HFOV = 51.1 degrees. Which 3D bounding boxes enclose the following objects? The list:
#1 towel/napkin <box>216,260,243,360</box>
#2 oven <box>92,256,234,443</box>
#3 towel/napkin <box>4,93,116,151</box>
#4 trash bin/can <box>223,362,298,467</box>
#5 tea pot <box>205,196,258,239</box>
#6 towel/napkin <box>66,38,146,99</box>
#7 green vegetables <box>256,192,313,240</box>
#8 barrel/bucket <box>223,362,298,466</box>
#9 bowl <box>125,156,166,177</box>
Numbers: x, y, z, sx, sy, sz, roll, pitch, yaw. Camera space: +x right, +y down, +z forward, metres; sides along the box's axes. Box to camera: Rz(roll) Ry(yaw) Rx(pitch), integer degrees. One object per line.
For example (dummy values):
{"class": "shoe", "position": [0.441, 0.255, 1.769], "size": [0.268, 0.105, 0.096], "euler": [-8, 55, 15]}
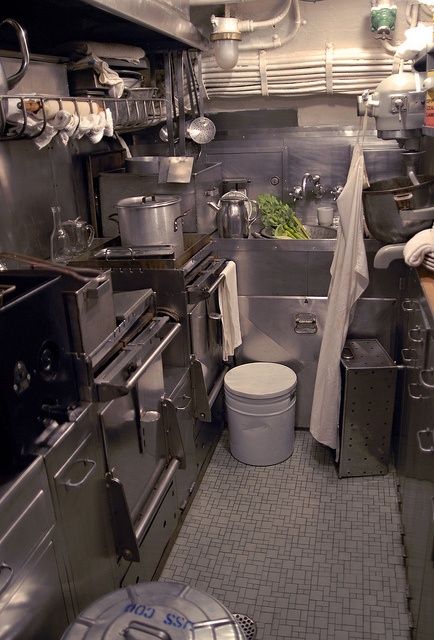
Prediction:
{"class": "towel/napkin", "position": [0.060, -0.072, 2.425], "size": [0.100, 0.467, 0.351], "euler": [-1, 33, 8]}
{"class": "oven", "position": [-0.131, 0.220, 2.533], "size": [0.626, 1.213, 1.190], "euler": [0, 21, 4]}
{"class": "towel/napkin", "position": [-0.498, -0.631, 1.427], "size": [0.195, 0.131, 0.466], "euler": [14, 26, 4]}
{"class": "trash bin/can", "position": [0.225, 0.495, 2.582], "size": [0.431, 0.523, 0.464], "euler": [-1, 25, 4]}
{"class": "tea pot", "position": [0.096, -0.596, 2.594], "size": [0.261, 0.282, 0.175], "euler": [-3, 15, -2]}
{"class": "towel/napkin", "position": [-0.436, -1.033, 1.899], "size": [0.249, 0.117, 0.337], "euler": [20, 31, 29]}
{"class": "green vegetables", "position": [0.409, -0.641, 2.833], "size": [0.283, 0.229, 0.556], "euler": [-3, 23, 3]}
{"class": "barrel/bucket", "position": [0.227, 0.495, 2.581], "size": [0.431, 0.524, 0.463], "euler": [-2, 25, 1]}
{"class": "bowl", "position": [-0.405, -0.852, 2.493], "size": [0.178, 0.076, 0.189], "euler": [1, 24, 0]}
